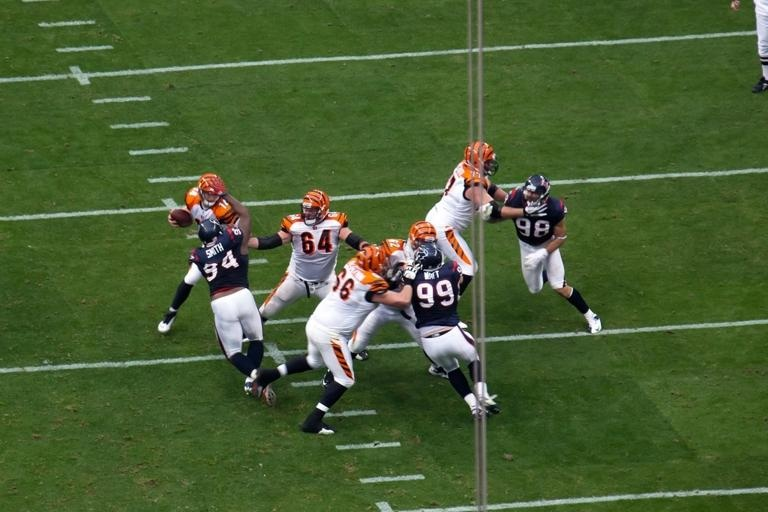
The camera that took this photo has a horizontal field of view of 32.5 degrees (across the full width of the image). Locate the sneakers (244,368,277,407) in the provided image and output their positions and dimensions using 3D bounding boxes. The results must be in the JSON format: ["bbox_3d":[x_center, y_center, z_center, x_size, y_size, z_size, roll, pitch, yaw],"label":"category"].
[{"bbox_3d":[-1.482,1.571,15.746,0.287,0.260,0.517,-15,65,-4],"label":"sneakers"}]

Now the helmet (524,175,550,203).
[{"bbox_3d":[1.922,-0.867,16.487,0.346,0.318,0.339,16,58,14],"label":"helmet"}]

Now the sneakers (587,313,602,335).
[{"bbox_3d":[2.657,0.847,16.760,0.187,0.101,0.350,8,11,-8],"label":"sneakers"}]

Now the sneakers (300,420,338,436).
[{"bbox_3d":[-0.764,2.017,15.539,0.352,0.108,0.163,0,4,-5],"label":"sneakers"}]

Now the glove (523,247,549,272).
[{"bbox_3d":[1.900,0.016,16.682,0.355,0.103,0.176,-27,40,27],"label":"glove"}]

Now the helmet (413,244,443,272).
[{"bbox_3d":[0.553,0.002,15.614,0.298,0.292,0.321,10,-14,-31],"label":"helmet"}]

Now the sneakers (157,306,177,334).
[{"bbox_3d":[-2.736,0.794,16.653,0.174,0.188,0.408,31,57,-8],"label":"sneakers"}]

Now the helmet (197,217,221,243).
[{"bbox_3d":[-2.060,-0.320,15.828,0.278,0.273,0.280,14,-6,3],"label":"helmet"}]

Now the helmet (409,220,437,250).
[{"bbox_3d":[0.436,-0.262,15.950,0.329,0.272,0.366,0,11,-11],"label":"helmet"}]

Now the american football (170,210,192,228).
[{"bbox_3d":[-2.503,-0.478,16.326,0.301,0.170,0.149,-4,-9,-6],"label":"american football"}]

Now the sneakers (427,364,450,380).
[{"bbox_3d":[0.659,1.412,16.234,0.303,0.123,0.095,23,31,-22],"label":"sneakers"}]

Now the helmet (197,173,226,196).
[{"bbox_3d":[-2.117,-0.900,16.248,0.322,0.319,0.325,2,10,-11],"label":"helmet"}]
